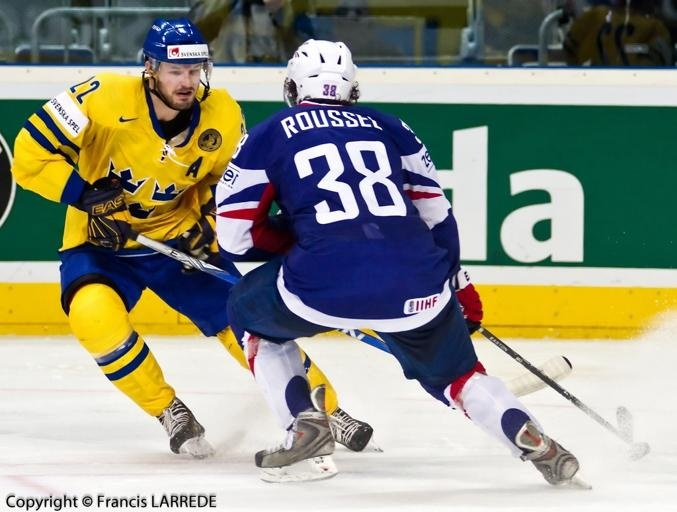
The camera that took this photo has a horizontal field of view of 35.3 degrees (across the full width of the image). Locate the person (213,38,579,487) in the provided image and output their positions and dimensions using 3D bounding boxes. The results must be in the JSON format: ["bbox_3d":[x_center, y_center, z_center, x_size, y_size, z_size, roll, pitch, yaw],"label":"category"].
[{"bbox_3d":[0.047,0.019,4.091,1.013,1.644,0.582,-3,14,-5],"label":"person"}]

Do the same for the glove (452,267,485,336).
[{"bbox_3d":[0.508,0.179,4.289,0.076,0.212,0.221,-23,22,-30],"label":"glove"}]

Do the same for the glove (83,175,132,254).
[{"bbox_3d":[-0.991,-0.183,4.523,0.162,0.268,0.205,16,-42,-39],"label":"glove"}]

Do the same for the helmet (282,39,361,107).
[{"bbox_3d":[-0.074,-0.714,4.141,0.231,0.272,0.291,0,7,-8],"label":"helmet"}]

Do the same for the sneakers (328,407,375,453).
[{"bbox_3d":[0.043,0.716,4.336,0.210,0.105,0.084,29,18,21],"label":"sneakers"}]

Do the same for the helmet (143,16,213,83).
[{"bbox_3d":[-0.702,-0.911,4.536,0.199,0.227,0.247,-7,11,-37],"label":"helmet"}]

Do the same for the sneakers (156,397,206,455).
[{"bbox_3d":[-0.643,0.707,4.372,0.161,0.187,0.212,-7,14,-19],"label":"sneakers"}]

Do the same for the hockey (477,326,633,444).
[{"bbox_3d":[0.898,0.471,4.388,0.834,0.300,0.030,38,59,25],"label":"hockey"}]
